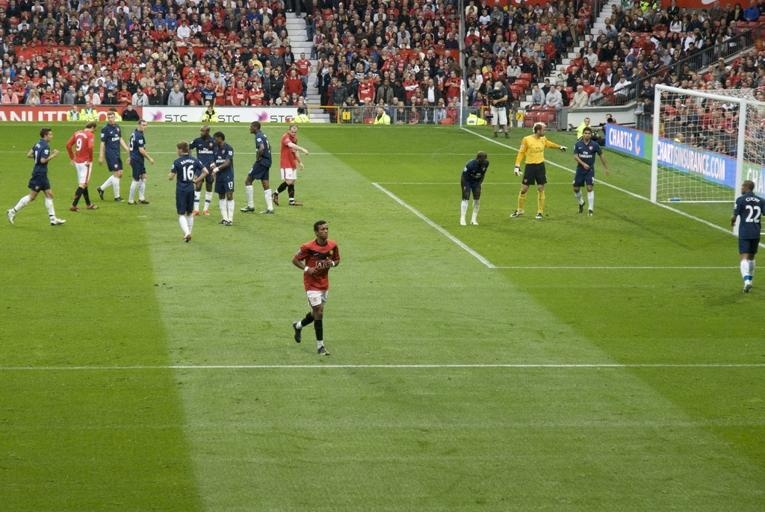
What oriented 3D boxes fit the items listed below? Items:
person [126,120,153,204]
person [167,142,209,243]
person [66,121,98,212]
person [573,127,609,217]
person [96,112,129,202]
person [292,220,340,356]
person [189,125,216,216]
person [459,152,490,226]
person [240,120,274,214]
[{"bbox_3d":[-6.964,-2.707,36.929,0.874,2.374,0.916,1,3,-22],"label":"person"},{"bbox_3d":[-5.101,-1.640,32.978,1.186,2.482,1.168,-7,13,-38],"label":"person"},{"bbox_3d":[-8.442,-2.503,36.008,1.110,2.437,0.969,4,6,-10],"label":"person"},{"bbox_3d":[5.997,-2.443,37.281,1.127,2.569,1.209,-1,-2,-1],"label":"person"},{"bbox_3d":[-7.729,-2.903,36.978,1.352,2.520,0.813,-4,9,-12],"label":"person"},{"bbox_3d":[-1.143,0.603,26.476,1.177,2.563,1.150,3,-3,-14],"label":"person"},{"bbox_3d":[-4.855,-2.361,34.854,1.101,2.379,0.756,3,-2,-33],"label":"person"},{"bbox_3d":[2.587,-1.827,35.036,0.954,2.006,0.981,1,0,-1],"label":"person"},{"bbox_3d":[-3.521,-2.527,36.100,1.092,2.507,1.003,3,-5,-16],"label":"person"}]
